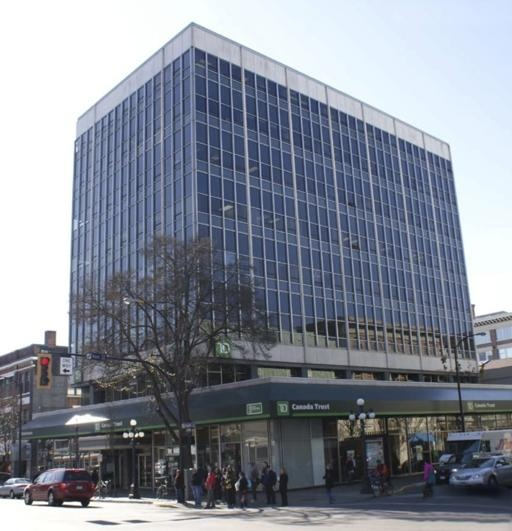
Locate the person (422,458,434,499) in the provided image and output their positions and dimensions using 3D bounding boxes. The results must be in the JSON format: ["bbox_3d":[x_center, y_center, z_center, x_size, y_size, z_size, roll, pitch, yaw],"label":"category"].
[{"bbox_3d":[7.379,9.152,27.632,0.574,1.335,1.947,-10,-17,11],"label":"person"}]

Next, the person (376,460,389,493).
[{"bbox_3d":[6.022,10.023,30.516,0.571,1.431,1.677,-9,-17,8],"label":"person"}]

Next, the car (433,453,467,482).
[{"bbox_3d":[10.168,10.586,33.879,1.035,0.836,1.707,-13,-26,30],"label":"car"}]

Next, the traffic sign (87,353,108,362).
[{"bbox_3d":[-7.705,4.382,31.145,0.672,0.296,0.812,5,-14,-15],"label":"traffic sign"}]

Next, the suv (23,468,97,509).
[{"bbox_3d":[-10.421,11.624,33.637,1.833,1.901,5.430,8,-21,-39],"label":"suv"}]

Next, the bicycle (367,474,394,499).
[{"bbox_3d":[6.077,10.668,30.849,0.802,0.913,2.482,-11,-33,17],"label":"bicycle"}]
